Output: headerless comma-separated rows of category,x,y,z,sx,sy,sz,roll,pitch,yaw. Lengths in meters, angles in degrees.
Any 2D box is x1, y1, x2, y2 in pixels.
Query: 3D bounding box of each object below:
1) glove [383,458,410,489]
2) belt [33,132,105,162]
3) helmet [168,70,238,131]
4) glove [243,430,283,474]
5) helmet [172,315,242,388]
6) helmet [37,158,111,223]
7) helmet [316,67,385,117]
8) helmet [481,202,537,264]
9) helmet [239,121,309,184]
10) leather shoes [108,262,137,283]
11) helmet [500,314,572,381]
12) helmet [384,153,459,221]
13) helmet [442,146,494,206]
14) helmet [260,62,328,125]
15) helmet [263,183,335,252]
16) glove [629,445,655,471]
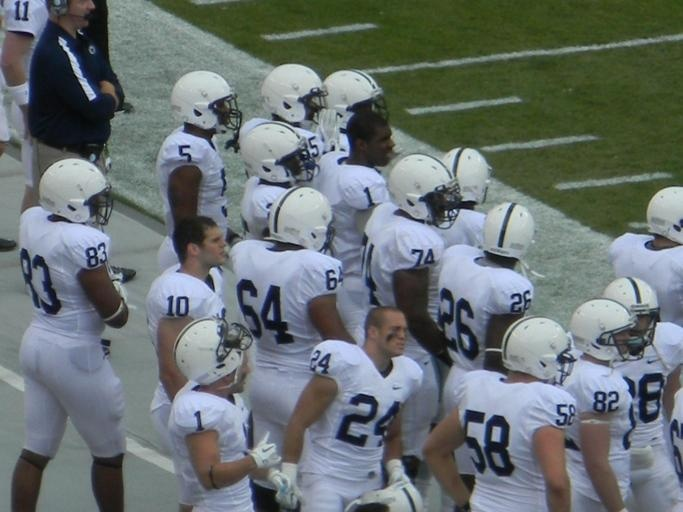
glove,0.365,1.536,9.148,0.071,0.140,0.188,27,45,-39
belt,-2.198,-0.900,10.650,0.606,0.160,0.273,11,14,-14
helmet,-1.130,-1.278,10.970,0.622,0.457,0.434,-1,12,-8
glove,-0.565,1.313,8.701,0.278,0.116,0.238,5,-13,43
helmet,-0.911,0.583,8.839,0.558,0.452,0.419,-3,12,-22
helmet,-1.951,-0.494,9.560,0.575,0.471,0.431,4,23,-17
helmet,0.092,-1.406,11.431,0.583,0.445,0.430,13,29,17
helmet,1.223,-0.207,9.783,0.436,0.428,0.567,18,10,15
helmet,-0.520,-0.845,10.344,0.622,0.440,0.475,11,31,16
leather shoes,-1.879,0.154,11.210,0.353,0.118,0.143,4,-20,1
helmet,1.343,0.644,8.957,0.556,0.435,0.420,7,20,6
helmet,0.611,-0.538,9.959,0.613,0.490,0.466,11,24,4
helmet,0.988,-0.660,10.515,0.430,0.453,0.553,3,14,25
helmet,-0.415,-1.401,11.293,0.584,0.476,0.467,8,17,5
helmet,-0.261,-0.269,9.597,0.531,0.435,0.388,-3,18,-30
glove,2.159,1.482,9.481,0.164,0.155,0.172,-10,-4,43
